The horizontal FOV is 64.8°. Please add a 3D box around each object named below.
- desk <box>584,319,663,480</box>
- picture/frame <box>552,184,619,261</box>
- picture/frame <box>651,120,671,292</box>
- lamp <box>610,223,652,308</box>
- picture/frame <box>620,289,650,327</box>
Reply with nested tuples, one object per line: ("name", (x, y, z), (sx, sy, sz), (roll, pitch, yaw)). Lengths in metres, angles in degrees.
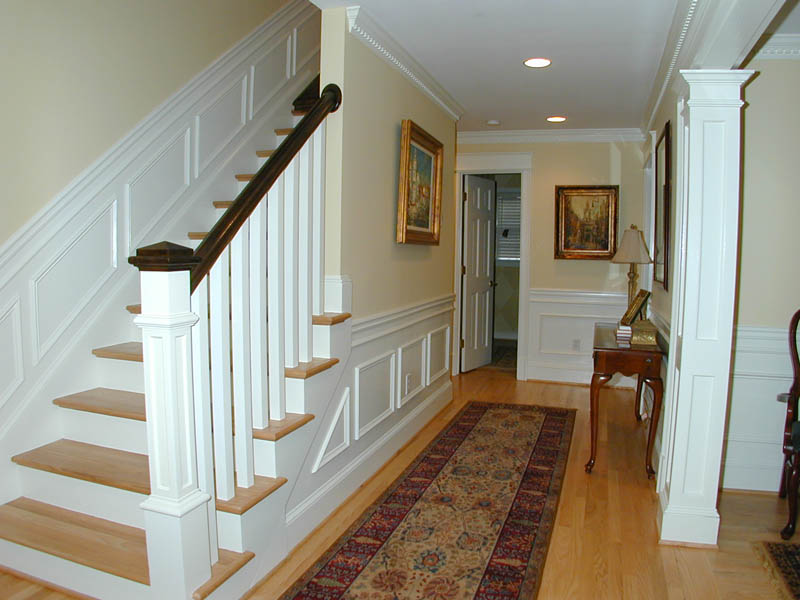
("desk", (1.738, 0.705, 4.939), (0.448, 0.893, 1.295), (3, 7, 18))
("picture/frame", (1.940, -0.816, 6.516), (0.772, 0.999, 0.083), (1, 7, 17))
("picture/frame", (2.006, -0.703, 4.840), (0.122, 1.212, 1.080), (4, 11, 19))
("lamp", (1.928, -0.260, 5.232), (0.272, 0.738, 0.286), (-5, 17, -2))
("picture/frame", (1.971, 0.063, 5.279), (0.046, 0.436, 0.236), (28, 13, -1))
